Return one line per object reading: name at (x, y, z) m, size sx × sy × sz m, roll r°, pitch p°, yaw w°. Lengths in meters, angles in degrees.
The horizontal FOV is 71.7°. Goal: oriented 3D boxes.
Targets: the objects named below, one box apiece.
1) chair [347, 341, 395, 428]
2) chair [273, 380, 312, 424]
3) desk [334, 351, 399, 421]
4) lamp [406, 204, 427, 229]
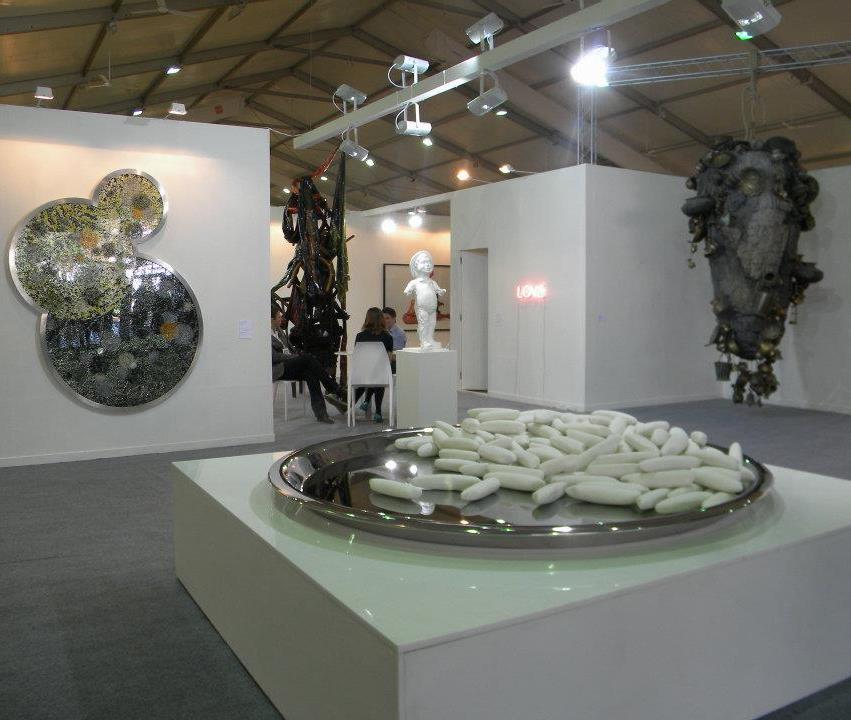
chair at (-0.582, 0.264, 6.435) m, size 0.541 × 0.917 × 0.427 m, roll 0°, pitch 4°, yaw 4°
chair at (-1.914, 0.582, 8.270) m, size 0.553 × 0.509 × 0.651 m, roll 2°, pitch 1°, yaw 15°
desk at (-0.588, 0.273, 6.608) m, size 0.580 × 0.958 × 0.702 m, roll 0°, pitch 5°, yaw 11°
lamp at (-0.209, -3.487, 14.336) m, size 0.614 × 0.711 × 1.442 m, roll 2°, pitch 19°, yaw 0°
